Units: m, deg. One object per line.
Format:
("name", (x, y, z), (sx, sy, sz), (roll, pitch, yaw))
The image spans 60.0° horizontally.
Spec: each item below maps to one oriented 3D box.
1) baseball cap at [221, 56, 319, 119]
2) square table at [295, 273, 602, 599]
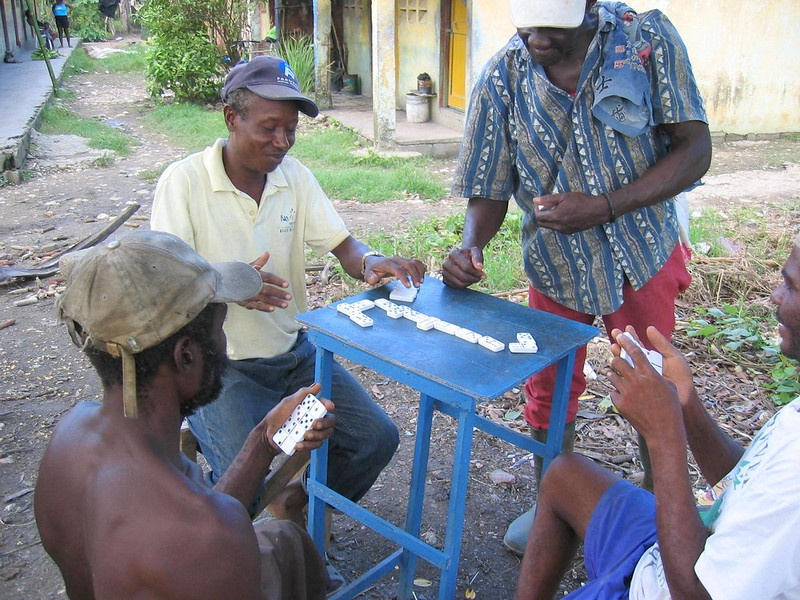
("baseball cap", (-0.618, -1.021, 3.257), (0.365, 0.192, 0.261), (14, 14, 12))
("square table", (0.211, 0.663, 3.189), (0.846, 1.420, 0.974), (-25, 43, -38))
